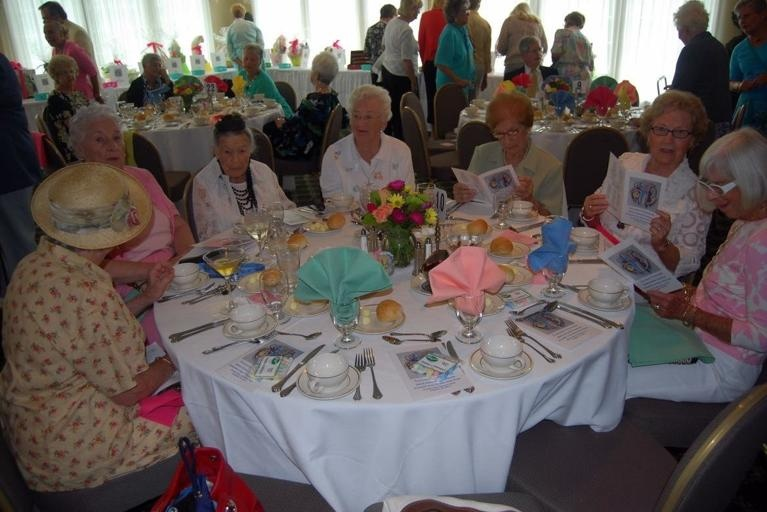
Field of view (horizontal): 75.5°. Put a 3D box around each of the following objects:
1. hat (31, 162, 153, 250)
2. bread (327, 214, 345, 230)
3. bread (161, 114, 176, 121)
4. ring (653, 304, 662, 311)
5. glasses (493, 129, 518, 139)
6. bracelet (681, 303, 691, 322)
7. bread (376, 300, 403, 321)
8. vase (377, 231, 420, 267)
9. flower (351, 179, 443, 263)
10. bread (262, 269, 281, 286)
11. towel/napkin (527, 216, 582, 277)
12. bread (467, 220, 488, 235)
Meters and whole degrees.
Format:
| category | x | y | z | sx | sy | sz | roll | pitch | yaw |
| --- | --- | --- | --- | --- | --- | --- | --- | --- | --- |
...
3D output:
| category | x | y | z | sx | sy | sz | roll | pitch | yaw |
| --- | --- | --- | --- | --- | --- | --- | --- | --- | --- |
| hat | -1.354 | -0.123 | 2.304 | 0.425 | 0.165 | 0.469 | 26 | 38 | -23 |
| bread | -0.286 | -0.208 | 2.991 | 0.079 | 0.085 | 0.106 | -6 | 5 | 5 |
| bread | -2.451 | -1.586 | 5.675 | 0.138 | 0.049 | 0.139 | -2 | 9 | -34 |
| ring | 1.316 | 0.241 | 2.378 | 0.012 | 0.035 | 0.034 | -44 | 42 | -15 |
| glasses | 0.840 | -0.836 | 3.408 | 0.179 | 0.067 | 0.081 | 5 | 21 | 24 |
| bracelet | 1.413 | 0.266 | 2.326 | 0.017 | 0.063 | 0.064 | 13 | 9 | 20 |
| bread | 0.031 | 0.236 | 2.144 | 0.080 | 0.058 | 0.099 | 2 | 16 | -25 |
| vase | 0.079 | -0.048 | 2.495 | 0.161 | 0.186 | 0.166 | -2 | 15 | -4 |
| flower | 0.033 | -0.189 | 2.545 | 0.375 | 0.395 | 0.380 | -12 | 43 | -20 |
| bread | -0.493 | 0.089 | 2.166 | 0.066 | 0.051 | 0.066 | 3 | 13 | 5 |
| towel/napkin | 0.771 | -0.037 | 2.260 | 0.243 | 0.256 | 0.083 | -5 | 16 | -10 |
| bread | 0.535 | -0.152 | 2.805 | 0.089 | 0.070 | 0.087 | -11 | -5 | 28 |
